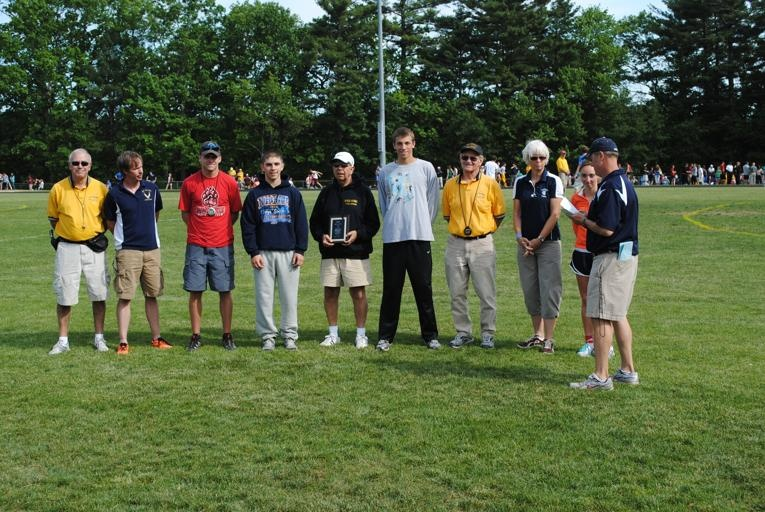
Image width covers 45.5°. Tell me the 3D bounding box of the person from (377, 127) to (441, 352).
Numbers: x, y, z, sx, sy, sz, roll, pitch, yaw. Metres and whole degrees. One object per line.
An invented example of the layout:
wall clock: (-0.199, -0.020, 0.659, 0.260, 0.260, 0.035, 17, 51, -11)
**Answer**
person: (0.351, -0.293, 13.335, 0.968, 2.399, 0.612, -2, 1, 3)

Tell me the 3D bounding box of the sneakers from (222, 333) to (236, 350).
sneakers: (-2.256, 1.231, 13.303, 0.194, 0.201, 0.333, -3, 2, -11)

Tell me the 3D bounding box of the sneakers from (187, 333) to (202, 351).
sneakers: (-2.737, 1.250, 13.235, 0.205, 0.255, 0.601, 1, -4, -6)

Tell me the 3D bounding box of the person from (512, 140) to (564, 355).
person: (2.257, -0.165, 13.164, 0.701, 2.017, 0.653, -2, 1, 8)

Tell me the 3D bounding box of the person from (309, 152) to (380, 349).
person: (-0.565, -0.132, 13.551, 1.006, 2.242, 0.812, -2, 1, -4)

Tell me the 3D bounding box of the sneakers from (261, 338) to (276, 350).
sneakers: (-1.659, 1.270, 13.300, 0.190, 0.140, 0.327, -2, 2, 0)

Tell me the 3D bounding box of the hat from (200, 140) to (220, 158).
hat: (-2.531, -1.595, 13.316, 0.264, 0.185, 0.446, -3, 2, -14)

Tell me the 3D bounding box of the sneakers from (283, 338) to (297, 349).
sneakers: (-1.348, 1.262, 13.229, 0.137, 0.120, 0.279, 0, -5, -14)

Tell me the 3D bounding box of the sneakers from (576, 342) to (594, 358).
sneakers: (2.865, 1.331, 12.896, 0.144, 0.121, 0.290, -2, -3, 43)

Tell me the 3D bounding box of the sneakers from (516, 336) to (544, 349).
sneakers: (2.150, 1.256, 13.236, 0.399, 0.171, 0.156, 0, -1, -2)

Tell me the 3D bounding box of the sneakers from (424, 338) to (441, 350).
sneakers: (0.756, 1.271, 13.241, 0.241, 0.107, 0.238, -3, 2, -12)

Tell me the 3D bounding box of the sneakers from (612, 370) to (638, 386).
sneakers: (3.188, 1.591, 11.895, 0.366, 0.154, 0.147, 4, 11, 18)

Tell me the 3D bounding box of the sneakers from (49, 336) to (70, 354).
sneakers: (-4.656, 1.272, 13.095, 0.273, 0.245, 0.431, -3, 2, -17)

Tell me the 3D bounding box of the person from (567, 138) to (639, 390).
person: (2.894, 0.086, 11.767, 0.800, 3.241, 0.465, -2, 1, 9)

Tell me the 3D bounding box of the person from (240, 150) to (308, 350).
person: (-1.577, -0.096, 13.335, 0.939, 2.363, 0.486, -2, 1, -9)

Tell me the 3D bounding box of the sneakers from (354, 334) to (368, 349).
sneakers: (-0.319, 1.250, 13.309, 0.186, 0.211, 0.542, -2, 0, -4)

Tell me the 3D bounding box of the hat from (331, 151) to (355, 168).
hat: (-0.570, -1.493, 13.418, 0.259, 0.198, 0.383, 3, -9, 20)

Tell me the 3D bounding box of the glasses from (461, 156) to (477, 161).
glasses: (1.241, -1.433, 13.158, 0.206, 0.076, 0.071, -1, 2, 29)

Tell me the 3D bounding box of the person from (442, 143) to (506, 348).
person: (1.353, -0.178, 13.439, 0.893, 2.090, 0.688, -2, 1, 2)

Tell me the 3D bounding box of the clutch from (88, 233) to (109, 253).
clutch: (-4.175, -0.213, 13.191, 0.292, 0.218, 0.145, 13, -8, 23)

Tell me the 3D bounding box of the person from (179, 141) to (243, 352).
person: (-2.499, -0.161, 13.291, 0.852, 2.596, 0.425, -2, 1, -10)

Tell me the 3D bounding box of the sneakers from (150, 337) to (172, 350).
sneakers: (-3.223, 1.268, 13.255, 0.325, 0.144, 0.141, 3, 6, 19)

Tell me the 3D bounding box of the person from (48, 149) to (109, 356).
person: (-4.392, -0.097, 13.127, 0.881, 2.748, 0.446, -3, 1, -17)

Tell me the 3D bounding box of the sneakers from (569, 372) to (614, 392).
sneakers: (2.729, 1.639, 11.832, 0.590, 0.253, 0.219, 1, -3, 5)

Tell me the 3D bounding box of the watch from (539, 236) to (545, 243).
watch: (2.274, -0.248, 12.962, 0.076, 0.050, 0.073, -3, 14, -4)

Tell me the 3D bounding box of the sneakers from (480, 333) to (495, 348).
sneakers: (1.521, 1.234, 13.300, 0.208, 0.126, 0.294, -2, 2, 6)

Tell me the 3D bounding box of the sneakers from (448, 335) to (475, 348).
sneakers: (1.152, 1.246, 13.349, 0.380, 0.169, 0.147, 0, 3, -28)

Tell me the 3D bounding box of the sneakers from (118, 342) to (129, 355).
sneakers: (-3.710, 1.325, 12.999, 0.104, 0.078, 0.198, 0, 12, -17)

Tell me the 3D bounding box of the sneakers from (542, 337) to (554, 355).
sneakers: (2.360, 1.285, 13.006, 0.195, 0.196, 0.496, -2, -3, 17)
